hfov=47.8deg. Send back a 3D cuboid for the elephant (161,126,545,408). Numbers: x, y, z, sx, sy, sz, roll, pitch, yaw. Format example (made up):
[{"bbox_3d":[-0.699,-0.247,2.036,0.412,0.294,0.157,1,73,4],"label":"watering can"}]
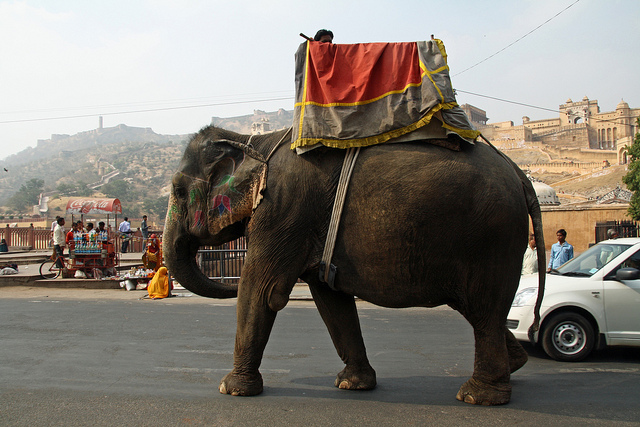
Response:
[{"bbox_3d":[0.388,0.738,9.930,5.509,3.345,1.808,2,1,3],"label":"elephant"}]

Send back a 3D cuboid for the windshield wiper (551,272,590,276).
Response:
[{"bbox_3d":[4.441,1.053,12.490,0.082,0.048,0.546,0,-2,-32],"label":"windshield wiper"}]

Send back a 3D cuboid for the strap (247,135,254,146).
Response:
[{"bbox_3d":[-0.962,-0.989,9.876,0.102,0.094,0.031,2,-20,25],"label":"strap"}]

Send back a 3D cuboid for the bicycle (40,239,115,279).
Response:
[{"bbox_3d":[-7.304,1.368,21.487,2.062,1.078,0.951,-3,-5,-5],"label":"bicycle"}]

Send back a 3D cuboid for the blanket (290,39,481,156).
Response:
[{"bbox_3d":[0.807,-1.393,9.167,2.478,1.513,0.696,-1,-7,9],"label":"blanket"}]
